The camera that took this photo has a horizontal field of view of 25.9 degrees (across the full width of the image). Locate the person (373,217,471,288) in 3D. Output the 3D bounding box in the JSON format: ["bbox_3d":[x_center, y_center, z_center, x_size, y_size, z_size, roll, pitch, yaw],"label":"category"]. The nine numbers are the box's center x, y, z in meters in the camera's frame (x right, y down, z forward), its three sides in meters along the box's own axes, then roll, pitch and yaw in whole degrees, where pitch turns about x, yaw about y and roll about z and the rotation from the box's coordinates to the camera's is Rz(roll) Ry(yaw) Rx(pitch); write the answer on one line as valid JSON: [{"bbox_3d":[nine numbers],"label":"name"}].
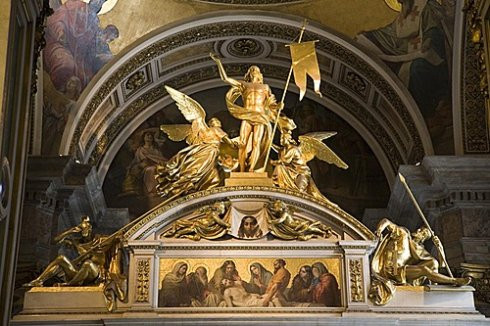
[{"bbox_3d":[3.347,1.841,21.682,1.607,1.375,0.393,1,-22,-7],"label":"person"}]

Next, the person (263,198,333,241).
[{"bbox_3d":[1.053,1.258,21.832,1.474,0.684,0.468,12,21,20],"label":"person"}]

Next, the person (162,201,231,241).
[{"bbox_3d":[-0.962,1.166,21.820,1.374,0.928,0.453,1,8,1],"label":"person"}]

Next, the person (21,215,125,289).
[{"bbox_3d":[-3.415,1.827,21.751,2.037,1.611,1.192,2,-17,-7],"label":"person"}]
